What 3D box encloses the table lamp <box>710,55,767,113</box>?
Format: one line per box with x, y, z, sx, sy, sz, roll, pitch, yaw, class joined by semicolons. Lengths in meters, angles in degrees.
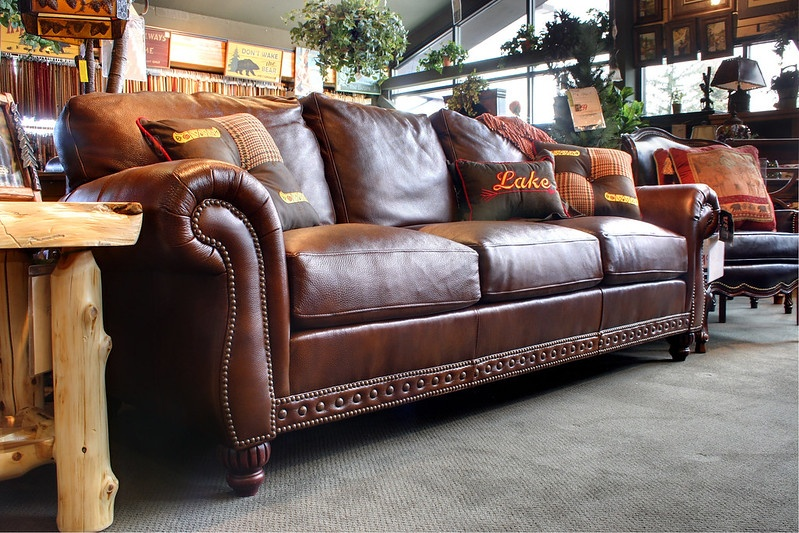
3.307;-1.730;5.329;0.340;0.520;0.728;9;13;43;table lamp

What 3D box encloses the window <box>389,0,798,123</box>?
2.384;-2.421;6.394;3.593;0.844;1.828;-1;17;7;window

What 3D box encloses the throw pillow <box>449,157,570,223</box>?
0.561;-0.395;2.807;0.658;0.403;0.222;-7;5;-15;throw pillow

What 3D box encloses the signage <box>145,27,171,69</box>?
-3.110;-2.814;7.047;0.311;0.497;0.121;-6;12;-30;signage

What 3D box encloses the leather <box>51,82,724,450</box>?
0.189;-0.128;2.812;1.092;1.289;3.316;2;5;43;leather
